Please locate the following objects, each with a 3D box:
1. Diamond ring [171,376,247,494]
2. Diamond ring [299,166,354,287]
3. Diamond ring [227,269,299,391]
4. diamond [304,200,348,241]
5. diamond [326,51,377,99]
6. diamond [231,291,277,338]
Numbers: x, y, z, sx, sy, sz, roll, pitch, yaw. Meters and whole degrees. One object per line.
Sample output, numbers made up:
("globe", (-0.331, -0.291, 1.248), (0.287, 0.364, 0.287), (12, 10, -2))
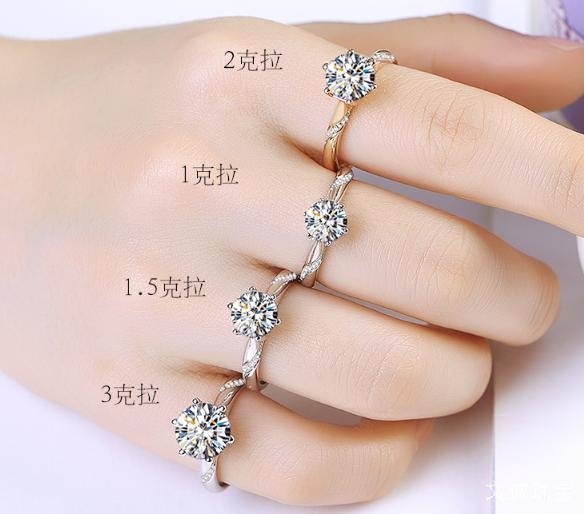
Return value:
("Diamond ring", (-0.121, 0.260, 0.953), (0.077, 0.138, 0.152), (32, -22, 19))
("Diamond ring", (0.052, -0.044, 0.930), (0.062, 0.159, 0.149), (29, -81, 2))
("Diamond ring", (-0.042, 0.109, 0.940), (0.060, 0.132, 0.142), (30, -25, 9))
("diamond", (0.050, -0.053, 0.914), (0.061, 0.057, 0.062), (-15, -67, 6))
("diamond", (0.084, -0.261, 0.916), (0.073, 0.047, 0.073), (-5, -66, 1))
("diamond", (-0.055, 0.085, 0.914), (0.075, 0.037, 0.067), (10, -66, -6))
